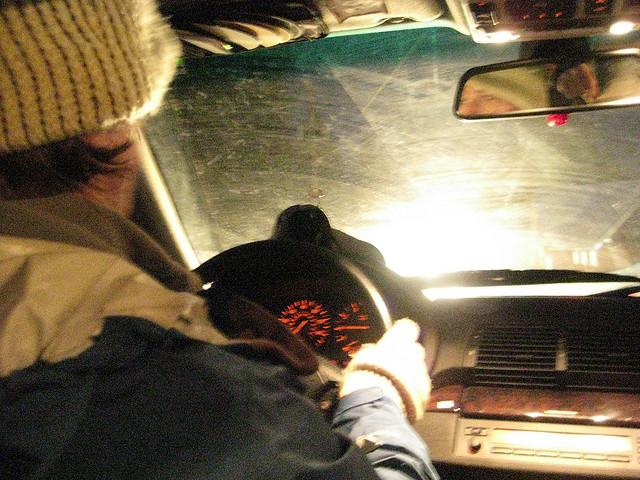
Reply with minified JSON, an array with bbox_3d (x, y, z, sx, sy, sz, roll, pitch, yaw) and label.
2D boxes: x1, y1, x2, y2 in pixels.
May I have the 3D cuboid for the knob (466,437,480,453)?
[{"bbox_3d":[0.664,0.867,2.421,0.059,0.043,0.051,-5,3,-5],"label":"knob"}]

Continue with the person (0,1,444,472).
[{"bbox_3d":[-0.469,0.045,1.791,1.786,0.420,1.166,0,66,-8],"label":"person"}]
